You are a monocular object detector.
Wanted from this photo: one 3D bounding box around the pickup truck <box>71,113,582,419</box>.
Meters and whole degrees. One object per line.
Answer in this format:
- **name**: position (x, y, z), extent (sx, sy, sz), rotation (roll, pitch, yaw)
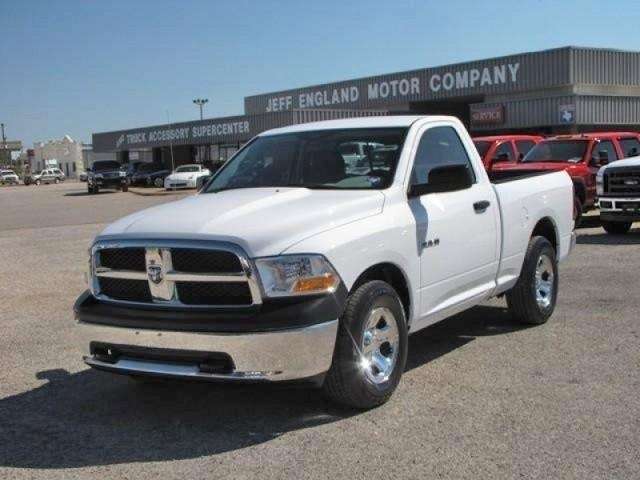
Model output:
- **pickup truck**: position (0.563, 0.045, 4.542), extent (2.431, 1.718, 4.283), rotation (0, 3, 35)
